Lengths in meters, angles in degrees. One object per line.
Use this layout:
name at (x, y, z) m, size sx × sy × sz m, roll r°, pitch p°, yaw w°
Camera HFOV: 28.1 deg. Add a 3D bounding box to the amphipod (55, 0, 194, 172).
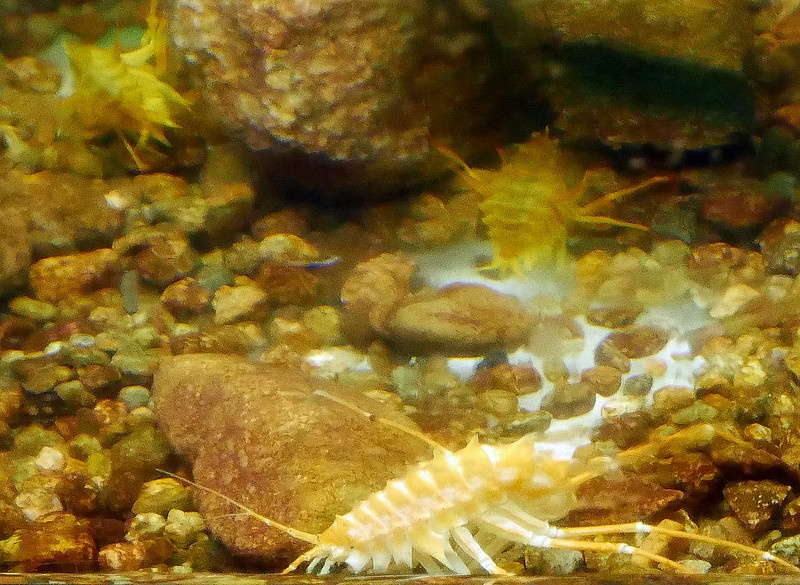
amphipod at (-0.964, -0.710, 5.514) m, size 0.440 × 0.151 × 0.455 m, roll -7°, pitch 65°, yaw -5°
